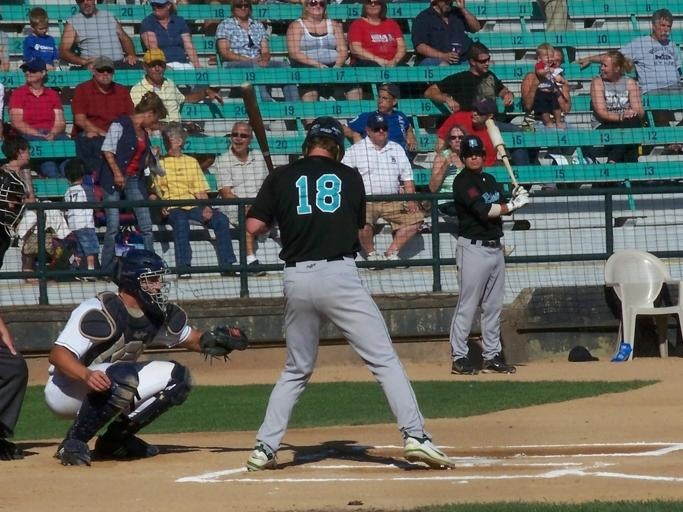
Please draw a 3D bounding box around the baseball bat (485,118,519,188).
[{"bbox_3d":[2.123,-1.301,25.980,0.187,1.133,0.176,-18,-21,-9],"label":"baseball bat"}]

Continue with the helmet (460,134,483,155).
[{"bbox_3d":[1.602,-1.315,23.891,0.287,0.258,0.192,-1,7,3],"label":"helmet"}]

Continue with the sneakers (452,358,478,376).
[{"bbox_3d":[1.512,1.376,24.284,0.339,0.166,0.163,-2,3,22],"label":"sneakers"}]

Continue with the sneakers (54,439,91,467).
[{"bbox_3d":[-2.865,2.120,20.953,0.377,0.206,0.165,1,22,4],"label":"sneakers"}]

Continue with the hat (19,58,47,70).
[{"bbox_3d":[-4.202,-2.566,26.611,0.320,0.179,0.288,-2,6,-4],"label":"hat"}]

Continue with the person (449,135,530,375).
[{"bbox_3d":[1.743,0.020,24.013,0.858,2.947,0.571,-1,7,2],"label":"person"}]

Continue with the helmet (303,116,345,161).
[{"bbox_3d":[-0.159,-1.262,21.205,0.374,0.432,0.493,14,-4,-2],"label":"helmet"}]

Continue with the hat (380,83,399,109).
[{"bbox_3d":[0.661,-2.141,26.672,0.337,0.322,0.270,1,3,-22],"label":"hat"}]

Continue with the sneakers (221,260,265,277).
[{"bbox_3d":[-1.274,0.184,25.000,0.642,0.259,0.212,2,1,0],"label":"sneakers"}]

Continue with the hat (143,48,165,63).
[{"bbox_3d":[-2.559,-2.687,26.678,0.275,0.187,0.253,-2,6,-6],"label":"hat"}]

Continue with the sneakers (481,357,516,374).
[{"bbox_3d":[1.963,1.366,24.304,0.479,0.219,0.169,-2,4,13],"label":"sneakers"}]

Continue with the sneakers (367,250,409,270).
[{"bbox_3d":[0.644,0.076,25.279,0.662,0.269,0.212,-2,4,-6],"label":"sneakers"}]

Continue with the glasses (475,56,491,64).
[{"bbox_3d":[1.991,-2.669,27.063,0.130,0.120,0.239,3,8,37],"label":"glasses"}]

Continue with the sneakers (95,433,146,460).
[{"bbox_3d":[-2.375,2.091,21.338,0.624,0.236,0.218,-1,5,-12],"label":"sneakers"}]

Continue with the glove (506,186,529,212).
[{"bbox_3d":[2.188,-0.649,24.034,0.311,0.116,0.315,-16,29,34],"label":"glove"}]

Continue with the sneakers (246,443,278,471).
[{"bbox_3d":[-0.839,2.159,20.880,0.198,0.239,0.386,34,2,18],"label":"sneakers"}]

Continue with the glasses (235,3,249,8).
[{"bbox_3d":[-1.370,-3.475,27.382,0.168,0.072,0.072,-2,6,-9],"label":"glasses"}]

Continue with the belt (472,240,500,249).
[{"bbox_3d":[1.781,-0.129,23.926,0.369,0.106,0.074,-3,7,-14],"label":"belt"}]

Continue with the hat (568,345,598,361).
[{"bbox_3d":[3.086,1.248,25.118,0.286,0.132,0.191,-4,6,-5],"label":"hat"}]

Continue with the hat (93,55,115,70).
[{"bbox_3d":[-3.186,-2.538,26.148,0.267,0.164,0.240,-2,6,-7],"label":"hat"}]
